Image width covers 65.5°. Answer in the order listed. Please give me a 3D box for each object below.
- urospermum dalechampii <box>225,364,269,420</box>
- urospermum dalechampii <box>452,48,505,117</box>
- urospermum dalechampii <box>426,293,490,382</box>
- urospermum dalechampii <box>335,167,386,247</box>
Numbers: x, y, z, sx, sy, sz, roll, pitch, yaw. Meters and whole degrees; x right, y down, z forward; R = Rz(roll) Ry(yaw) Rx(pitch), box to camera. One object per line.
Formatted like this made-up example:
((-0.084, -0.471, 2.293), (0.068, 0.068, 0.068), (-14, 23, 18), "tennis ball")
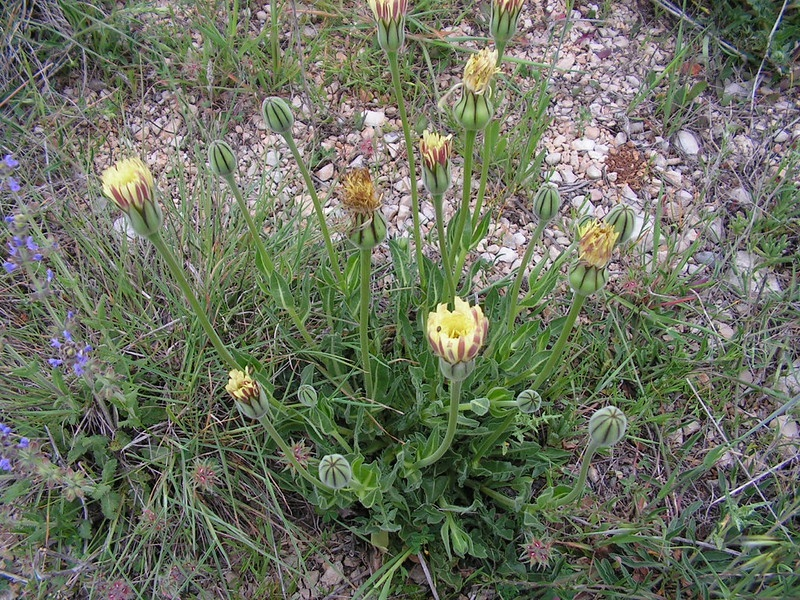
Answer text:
((-0.682, 0.410, 2.793), (0.122, 0.278, 0.151), (-9, 56, 5), "urospermum dalechampii")
((0.352, -0.986, 2.829), (0.170, 0.209, 0.404), (9, 65, 4), "urospermum dalechampii")
((0.216, 0.169, 2.519), (0.220, 0.324, 0.273), (26, 66, 12), "urospermum dalechampii")
((-0.163, -0.409, 2.709), (0.165, 0.182, 0.361), (-10, 66, -6), "urospermum dalechampii")
